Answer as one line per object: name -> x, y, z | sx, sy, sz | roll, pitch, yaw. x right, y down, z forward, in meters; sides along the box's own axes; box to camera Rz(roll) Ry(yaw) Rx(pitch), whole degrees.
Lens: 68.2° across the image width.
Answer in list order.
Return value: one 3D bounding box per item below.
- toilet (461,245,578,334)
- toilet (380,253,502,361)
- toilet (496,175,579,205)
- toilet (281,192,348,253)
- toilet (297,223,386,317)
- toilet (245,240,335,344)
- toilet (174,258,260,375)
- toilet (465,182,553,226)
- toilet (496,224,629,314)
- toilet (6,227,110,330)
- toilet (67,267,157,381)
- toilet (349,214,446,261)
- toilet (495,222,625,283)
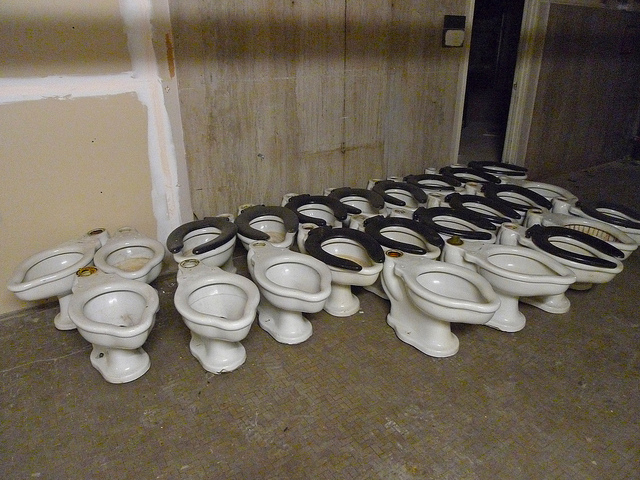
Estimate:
toilet -> 1.181, 0.230, 2.808 | 0.626, 0.429, 0.485 | 22, 39, 33
toilet -> 0.614, 0.368, 2.602 | 0.681, 0.416, 0.398 | 22, 32, 36
toilet -> 1.728, -0.399, 3.835 | 0.379, 0.199, 0.597 | -16, 12, -26
toilet -> -0.075, -0.091, 3.371 | 0.359, 0.350, 0.497 | 17, 17, 8
toilet -> 0.100, 0.200, 2.876 | 0.446, 0.408, 0.618 | -18, 32, -37
toilet -> -0.194, 0.319, 2.676 | 0.399, 0.409, 0.677 | -18, 32, -33
toilet -> -0.571, 0.376, 2.531 | 0.381, 0.384, 0.593 | -26, 49, -31
toilet -> 1.337, -0.175, 3.460 | 0.596, 0.165, 0.395 | 7, -4, -5
toilet -> 1.453, 0.184, 2.954 | 0.706, 0.412, 0.494 | 15, 22, 23
toilet -> -1.444, 0.215, 2.838 | 0.434, 0.413, 0.659 | 30, 43, 32
toilet -> -1.075, 0.452, 2.460 | 0.416, 0.367, 0.681 | -17, 33, -39
toilet -> 0.489, -0.031, 2.950 | 0.461, 0.173, 0.291 | 32, 46, 28
toilet -> 1.429, 0.086, 2.899 | 0.676, 0.252, 0.428 | 21, 32, 28
